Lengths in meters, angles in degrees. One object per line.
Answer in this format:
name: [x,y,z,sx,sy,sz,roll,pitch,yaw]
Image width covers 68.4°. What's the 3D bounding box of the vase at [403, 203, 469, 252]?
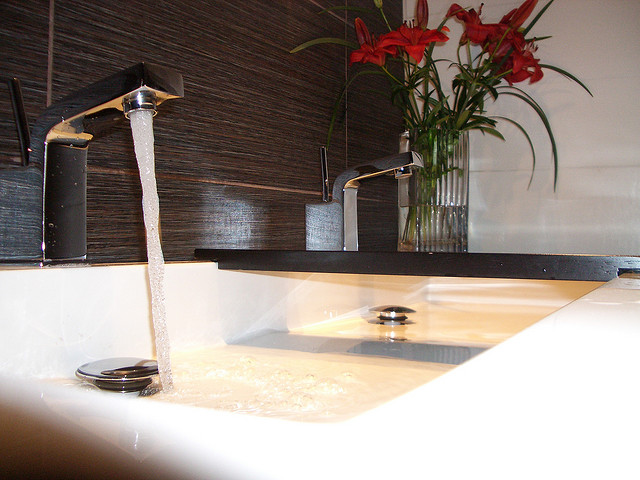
vase: [0.299,-0.032,1.205,0.183,0.128,0.069,-11,-2,10]
